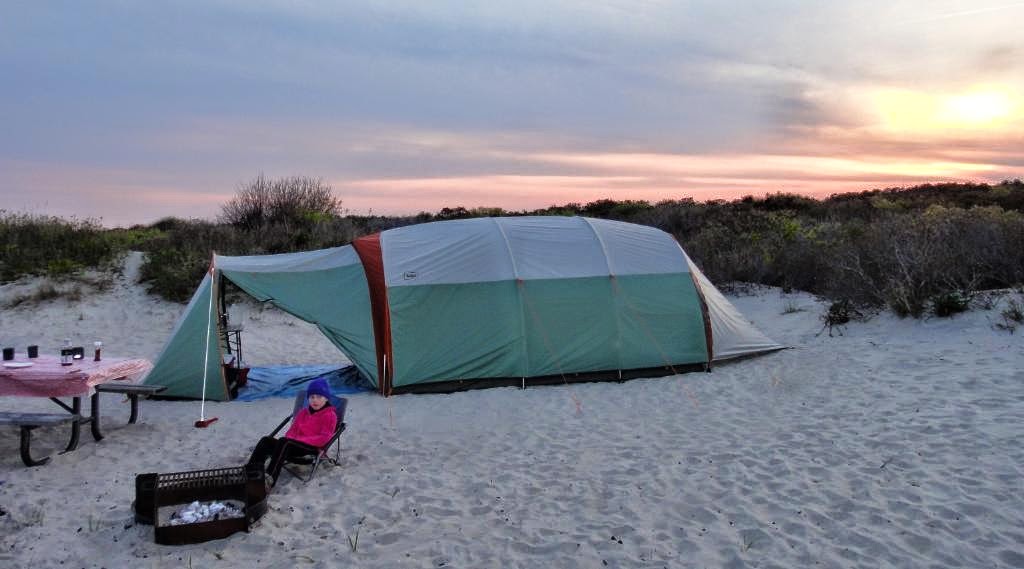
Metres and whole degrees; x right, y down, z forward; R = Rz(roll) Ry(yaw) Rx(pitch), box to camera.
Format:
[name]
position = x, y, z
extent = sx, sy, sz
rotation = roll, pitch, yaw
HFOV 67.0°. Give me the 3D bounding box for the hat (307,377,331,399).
[hat]
position = -3.932, 2.093, 15.749
extent = 0.463, 0.392, 0.441
rotation = 6, -9, -6
